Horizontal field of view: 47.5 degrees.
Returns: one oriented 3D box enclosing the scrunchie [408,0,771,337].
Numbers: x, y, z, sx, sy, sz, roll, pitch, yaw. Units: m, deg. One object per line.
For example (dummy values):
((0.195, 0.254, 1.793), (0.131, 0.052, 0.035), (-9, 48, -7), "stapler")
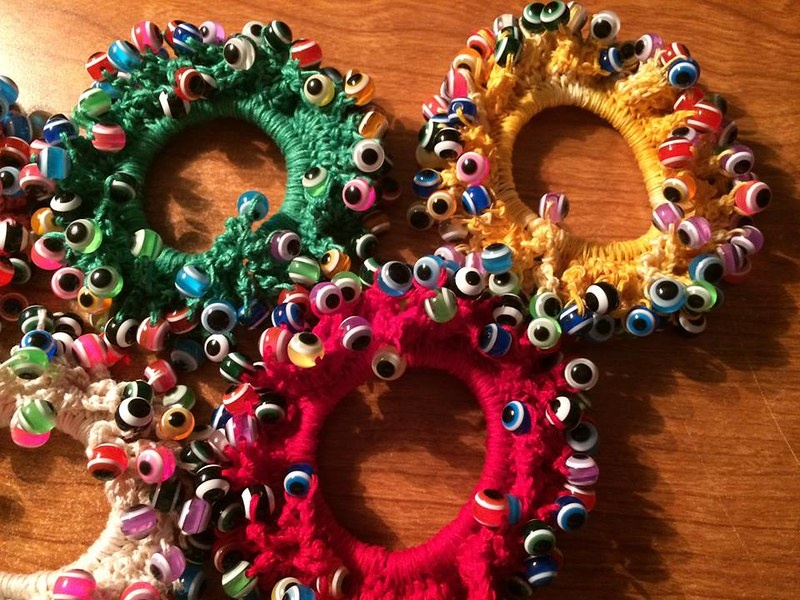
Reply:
((0.384, -0.229, 2.111), (0.683, 0.731, 0.245), (-42, -11, -8), "scrunchie")
